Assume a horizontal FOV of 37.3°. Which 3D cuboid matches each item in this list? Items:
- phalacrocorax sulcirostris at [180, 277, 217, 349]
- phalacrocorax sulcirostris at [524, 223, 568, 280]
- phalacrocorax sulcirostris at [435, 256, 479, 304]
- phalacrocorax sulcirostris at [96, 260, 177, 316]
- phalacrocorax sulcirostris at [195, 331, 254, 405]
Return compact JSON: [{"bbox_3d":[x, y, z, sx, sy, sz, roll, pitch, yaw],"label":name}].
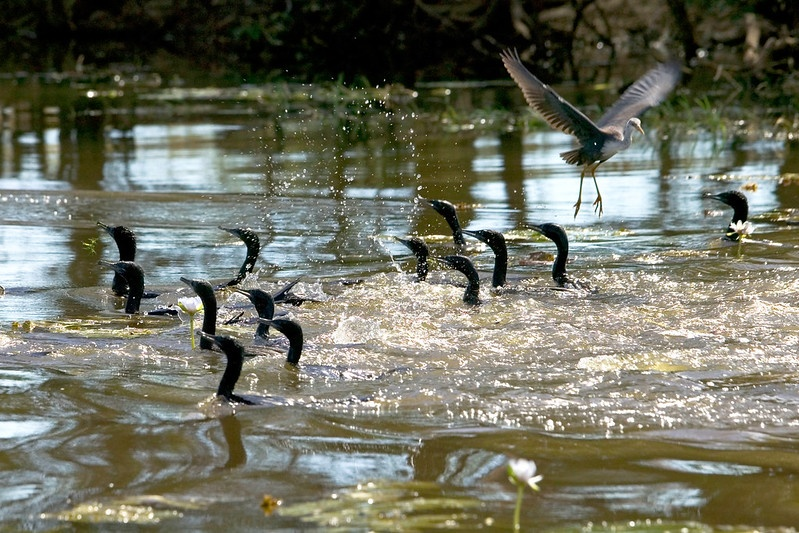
[{"bbox_3d":[-1.400,0.278,8.296,0.230,0.392,0.334,0,4,-10],"label":"phalacrocorax sulcirostris"},{"bbox_3d":[1.267,-0.102,9.787,0.267,0.516,0.467,2,4,22],"label":"phalacrocorax sulcirostris"},{"bbox_3d":[0.505,0.106,9.292,0.259,0.386,0.458,2,4,19],"label":"phalacrocorax sulcirostris"},{"bbox_3d":[-2.003,0.165,9.282,0.493,0.415,0.511,0,4,-11],"label":"phalacrocorax sulcirostris"},{"bbox_3d":[-1.076,0.662,7.696,0.258,0.481,0.455,2,4,17],"label":"phalacrocorax sulcirostris"}]
